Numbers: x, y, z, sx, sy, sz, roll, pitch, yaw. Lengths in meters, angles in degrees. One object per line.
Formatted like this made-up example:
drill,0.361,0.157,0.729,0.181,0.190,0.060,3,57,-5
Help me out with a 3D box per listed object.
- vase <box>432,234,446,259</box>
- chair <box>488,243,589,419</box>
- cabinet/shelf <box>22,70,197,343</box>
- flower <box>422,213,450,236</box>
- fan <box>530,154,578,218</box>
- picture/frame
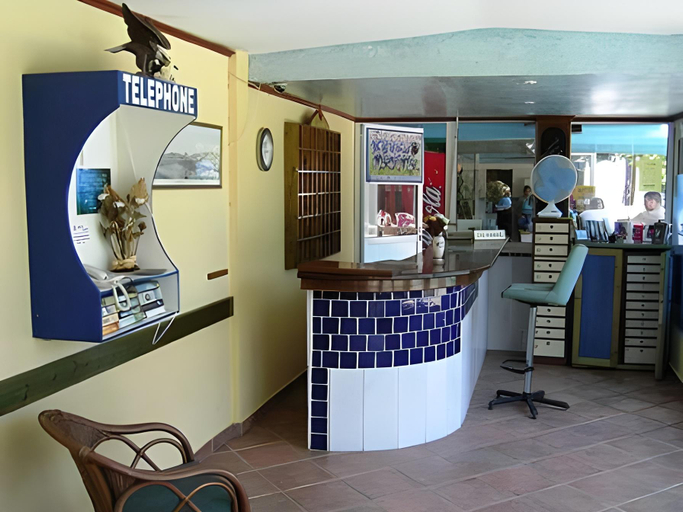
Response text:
vase,0.933,-0.086,5.216,0.109,0.247,0.387,2,7,9
chair,2.112,0.663,5.757,0.830,1.704,1.408,3,8,23
cabinet/shelf,-1.251,-0.247,2.998,0.527,1.412,0.764,4,8,27
flower,0.961,-0.301,5.300,0.278,0.275,0.273,-5,4,-24
fan,2.650,-0.864,6.784,0.511,0.766,0.304,3,7,17
picture/frame,-1.171,-0.749,4.184,0.797,0.444,0.018,6,4,39
